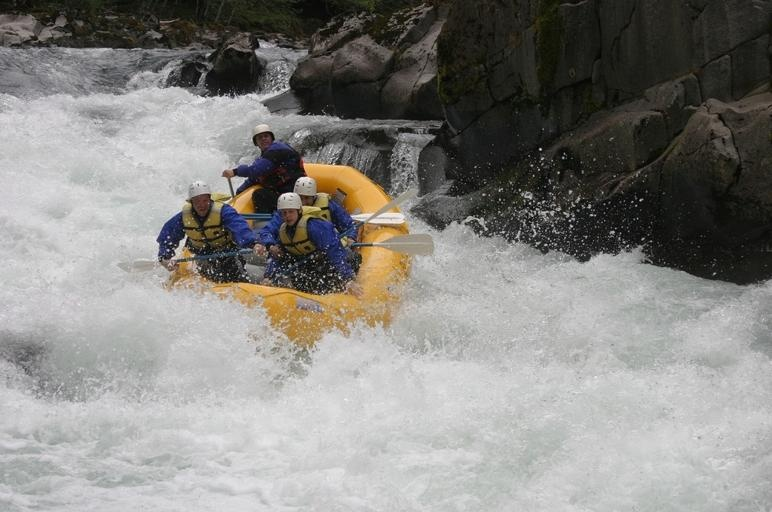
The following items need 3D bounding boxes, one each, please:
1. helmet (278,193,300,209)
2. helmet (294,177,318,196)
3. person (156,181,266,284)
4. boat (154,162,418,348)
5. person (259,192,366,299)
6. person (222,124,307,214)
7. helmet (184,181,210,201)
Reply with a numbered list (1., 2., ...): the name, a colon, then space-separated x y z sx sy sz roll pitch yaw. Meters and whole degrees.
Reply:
1. helmet: -1.153 -0.645 12.294 0.200 0.235 0.174 -3 81 6
2. helmet: -0.995 -0.875 12.905 0.230 0.229 0.258 1 36 1
3. person: -2.156 -0.239 12.883 1.038 0.611 1.290 -29 83 -10
4. boat: -0.444 0.238 12.778 2.167 0.814 2.519 22 47 6
5. person: -0.954 -0.020 12.418 1.068 0.635 1.283 -14 81 -2
6. person: -1.706 -0.993 13.953 1.287 0.796 1.477 -1 93 -28
7. helmet: -2.287 -0.804 12.577 0.237 0.248 0.259 0 105 -9
